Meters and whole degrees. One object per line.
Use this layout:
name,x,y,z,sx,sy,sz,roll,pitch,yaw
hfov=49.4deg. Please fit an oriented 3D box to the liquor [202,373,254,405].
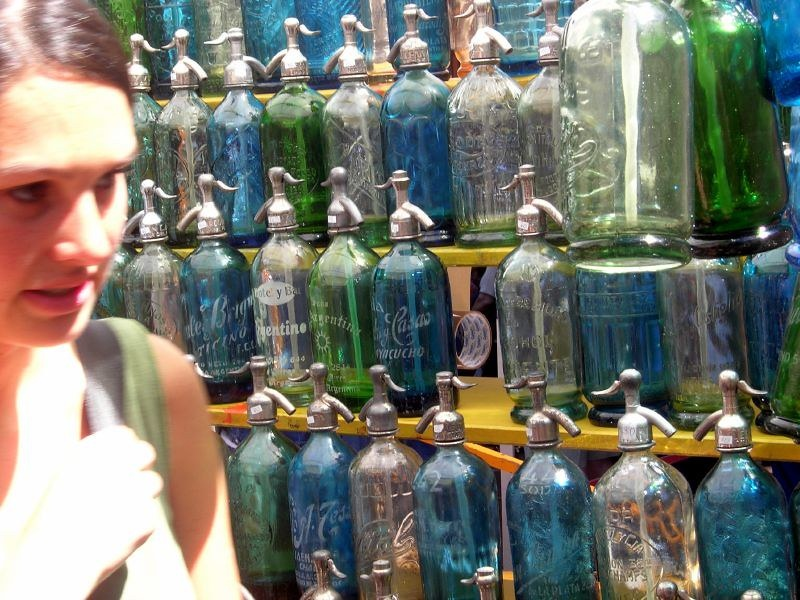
liquor,-0.285,0.138,1.424,0.054,0.044,0.056,-2,0,-7

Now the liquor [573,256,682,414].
liquor,0.300,0.064,1.185,0.105,0.200,0.111,3,-4,-4
